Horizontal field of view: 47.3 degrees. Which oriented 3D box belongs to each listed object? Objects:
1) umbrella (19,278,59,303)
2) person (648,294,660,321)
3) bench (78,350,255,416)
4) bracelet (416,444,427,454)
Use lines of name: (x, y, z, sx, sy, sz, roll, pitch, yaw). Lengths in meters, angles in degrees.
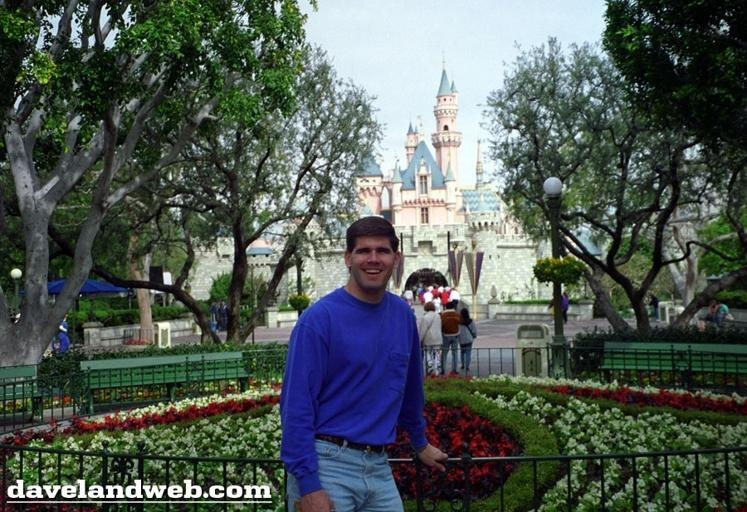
umbrella: (-9.333, 1.000, 23.919, 1.320, 0.480, 1.362, -2, -3, 1)
person: (14.151, 2.668, 43.015, 0.572, 1.703, 0.570, 6, -21, 18)
bench: (-4.896, 2.938, 20.034, 3.759, 1.384, 1.424, 2, -8, -21)
bracelet: (0.640, 2.637, 11.591, 0.089, 0.121, 0.047, 5, 26, -11)
